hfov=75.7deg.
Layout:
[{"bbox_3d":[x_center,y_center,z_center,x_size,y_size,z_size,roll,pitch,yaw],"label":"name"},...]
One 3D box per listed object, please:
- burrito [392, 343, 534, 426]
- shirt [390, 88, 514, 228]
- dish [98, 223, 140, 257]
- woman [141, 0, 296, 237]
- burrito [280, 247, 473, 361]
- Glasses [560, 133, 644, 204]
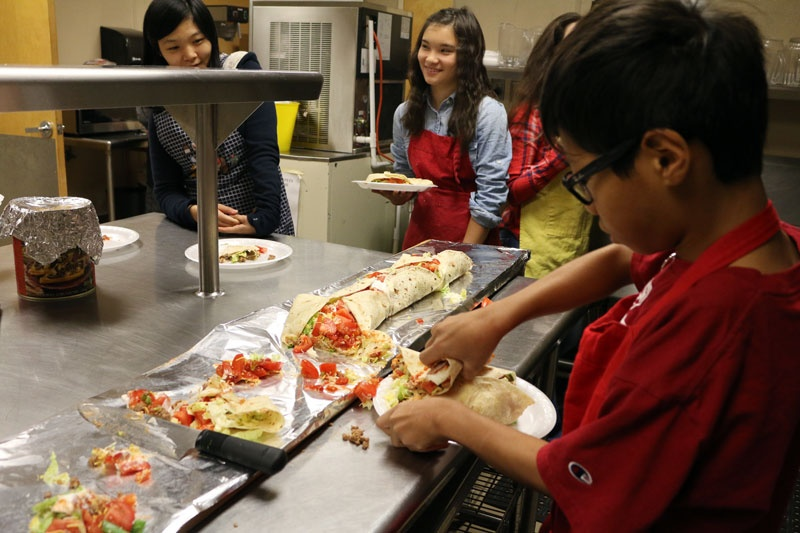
[{"bbox_3d":[0.166,0.311,1.319,0.209,0.079,0.195,19,15,10],"label":"burrito"},{"bbox_3d":[0.346,-0.681,3.290,0.718,0.694,0.375,23,40,29],"label":"shirt"},{"bbox_3d":[-1.189,-0.106,2.224,0.169,0.019,0.163,-7,33,-24],"label":"dish"},{"bbox_3d":[-0.904,-0.702,2.664,0.732,1.267,1.018,-7,19,-25],"label":"woman"},{"bbox_3d":[-0.083,0.133,1.775,0.268,0.113,0.564,11,19,28],"label":"burrito"},{"bbox_3d":[0.378,-0.180,0.962,0.098,0.030,0.095,-38,-5,10],"label":"Glasses"}]
